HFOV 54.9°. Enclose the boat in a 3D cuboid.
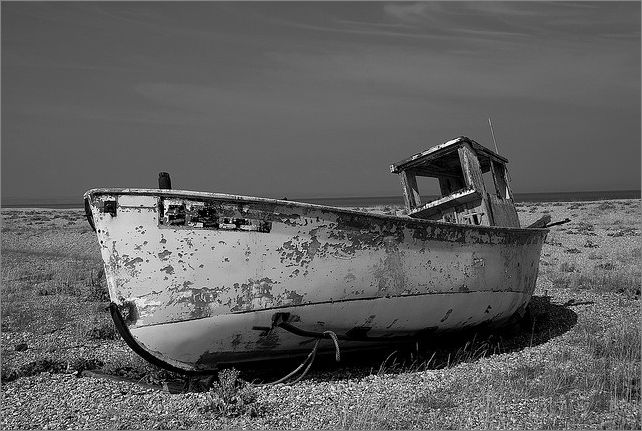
[{"bbox_3d":[-0.025,0.440,11.723,7.753,4.050,4.052,0,-11,-21],"label":"boat"}]
